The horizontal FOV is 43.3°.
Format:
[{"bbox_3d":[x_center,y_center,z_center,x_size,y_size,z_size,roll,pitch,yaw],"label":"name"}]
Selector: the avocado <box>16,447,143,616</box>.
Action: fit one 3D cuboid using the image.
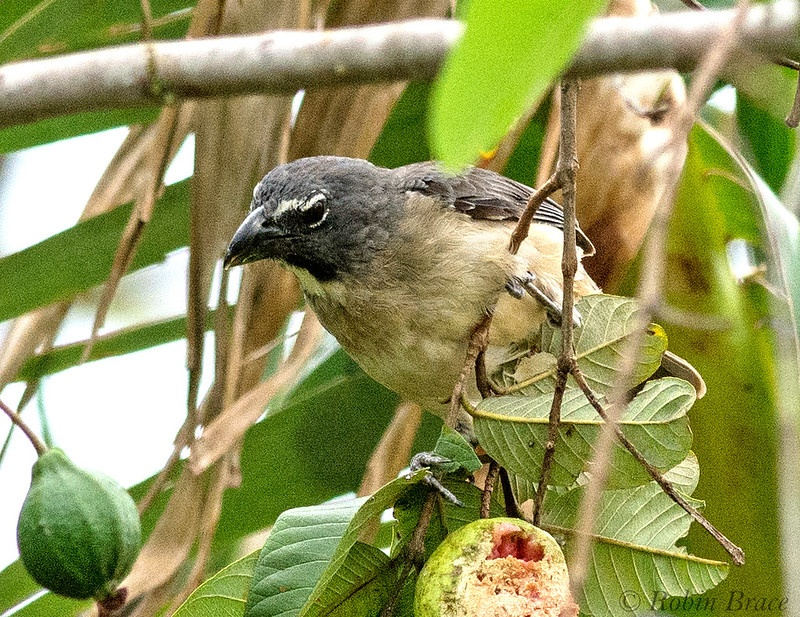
[{"bbox_3d":[-0.924,0.593,2.992,0.367,0.449,0.353,-6,9,-27],"label":"avocado"}]
